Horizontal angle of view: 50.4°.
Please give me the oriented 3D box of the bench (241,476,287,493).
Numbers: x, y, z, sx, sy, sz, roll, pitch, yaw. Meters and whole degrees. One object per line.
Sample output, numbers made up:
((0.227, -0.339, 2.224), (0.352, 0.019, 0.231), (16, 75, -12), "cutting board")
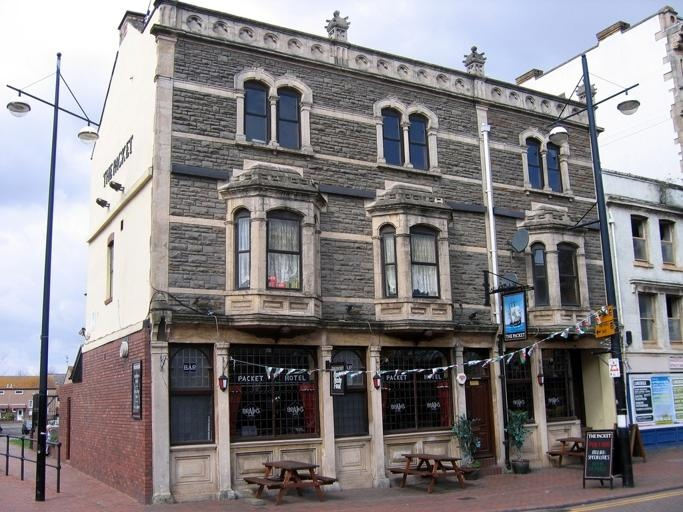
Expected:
((-2.234, 6.521, 20.726), (1.025, 0.412, 1.768), (0, -14, -10), "bench")

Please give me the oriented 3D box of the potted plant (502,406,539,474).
((6.210, 6.532, 25.595), (0.707, 2.162, 1.054), (-10, -15, 29), "potted plant")

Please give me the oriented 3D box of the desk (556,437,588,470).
((8.322, 7.025, 26.374), (1.479, 0.932, 1.501), (1, -10, 5), "desk")

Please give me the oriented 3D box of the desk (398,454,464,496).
((2.811, 6.681, 22.852), (1.495, 0.787, 1.596), (15, -23, -35), "desk")

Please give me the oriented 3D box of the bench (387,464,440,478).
((2.195, 6.871, 22.973), (1.436, 0.381, 1.963), (-2, -14, 0), "bench")

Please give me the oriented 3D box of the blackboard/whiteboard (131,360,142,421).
((-5.964, 3.966, 21.234), (0.129, 1.562, 1.456), (4, -18, -23), "blackboard/whiteboard")

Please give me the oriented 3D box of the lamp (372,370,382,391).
((1.149, 4.063, 23.718), (0.289, 0.600, 0.132), (9, -17, -40), "lamp")
